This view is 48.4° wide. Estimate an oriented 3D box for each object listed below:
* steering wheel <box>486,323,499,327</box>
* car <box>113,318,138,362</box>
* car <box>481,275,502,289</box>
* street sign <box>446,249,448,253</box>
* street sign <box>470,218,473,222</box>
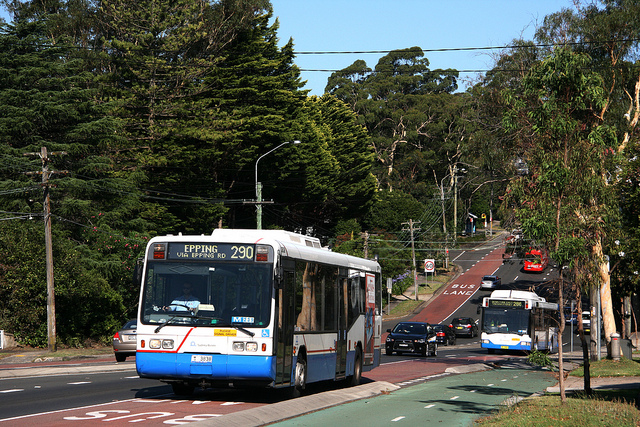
[{"bbox_3d":[12.064,7.921,50.185,0.766,0.270,0.029,-3,-9,16],"label":"steering wheel"},{"bbox_3d":[-9.892,6.559,36.509,1.038,2.167,1.447,4,-10,-20],"label":"car"},{"bbox_3d":[21.616,8.826,90.406,2.315,1.766,1.600,5,-11,-26],"label":"car"},{"bbox_3d":[18.639,5.578,105.829,0.410,0.797,0.800,-1,-3,16],"label":"street sign"},{"bbox_3d":[31.283,1.354,147.475,0.599,0.720,0.618,1,-5,-8],"label":"street sign"}]
